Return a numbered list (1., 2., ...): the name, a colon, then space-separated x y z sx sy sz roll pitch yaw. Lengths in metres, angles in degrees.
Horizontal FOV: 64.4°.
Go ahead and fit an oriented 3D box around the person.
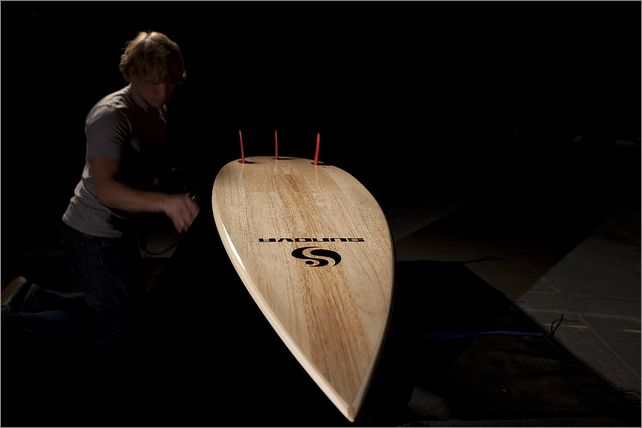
1. person: -1.424 -0.094 3.273 1.247 1.964 0.834 -12 36 -34
